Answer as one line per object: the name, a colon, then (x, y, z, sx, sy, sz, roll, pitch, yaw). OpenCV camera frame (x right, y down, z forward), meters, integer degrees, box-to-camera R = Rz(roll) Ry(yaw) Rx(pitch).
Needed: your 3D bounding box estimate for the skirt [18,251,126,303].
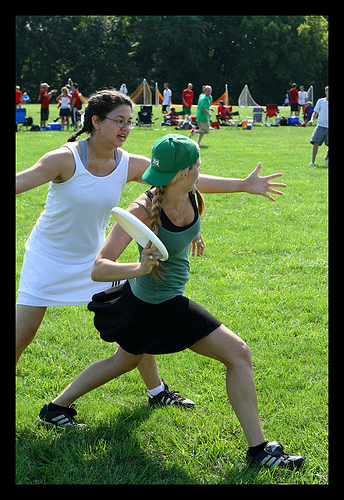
skirt: (-0.651, 0.215, 3.483, 0.575, 0.241, 0.361, 18, -2, -33)

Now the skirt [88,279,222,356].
skirt: (-0.116, 0.355, 2.809, 0.549, 0.196, 0.426, 12, 22, 4)

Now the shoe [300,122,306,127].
shoe: (7.225, -6.889, 29.118, 0.314, 0.241, 1.397, 3, 13, 13)

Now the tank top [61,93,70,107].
tank top: (-4.212, -5.964, 21.148, 0.360, 0.472, 0.547, -2, 14, -11)

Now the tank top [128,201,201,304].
tank top: (-0.038, -0.001, 2.786, 0.302, 0.539, 0.351, 5, 14, 37)

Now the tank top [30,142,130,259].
tank top: (-0.655, -0.261, 3.499, 0.637, 0.765, 0.519, -8, 30, -38)

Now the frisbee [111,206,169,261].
frisbee: (-0.154, -0.094, 2.387, 0.245, 0.250, 0.297, 4, 17, -4)

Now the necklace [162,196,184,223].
necklace: (0.005, -0.199, 2.649, 0.161, 0.139, 0.016, -13, 6, -34)

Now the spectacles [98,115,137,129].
spectacles: (-0.328, -0.775, 3.210, 0.199, 0.074, 0.069, -5, 14, -21)

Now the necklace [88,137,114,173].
necklace: (-0.443, -0.575, 3.217, 0.106, 0.172, 0.097, 0, 15, -3)
